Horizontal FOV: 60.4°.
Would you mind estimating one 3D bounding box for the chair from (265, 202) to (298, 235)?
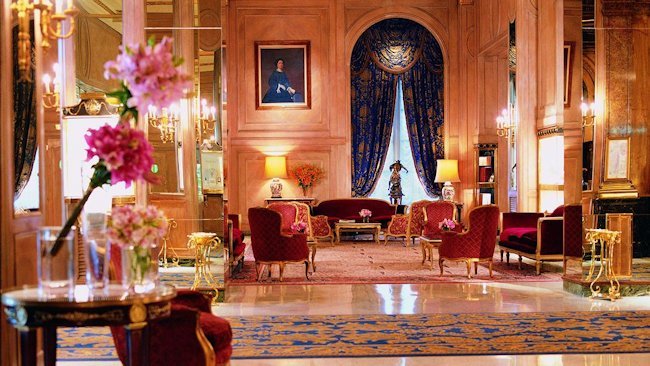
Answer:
[{"bbox_3d":[-0.840,0.745,12.090,0.655,0.971,0.701,0,-4,-3],"label":"chair"}]

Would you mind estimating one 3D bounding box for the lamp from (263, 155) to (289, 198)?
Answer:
[{"bbox_3d":[-1.286,-0.159,14.732,0.566,1.086,0.649,-2,6,-7],"label":"lamp"}]

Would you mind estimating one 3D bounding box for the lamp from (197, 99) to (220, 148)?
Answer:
[{"bbox_3d":[-1.770,-0.843,8.303,0.354,0.656,0.348,0,1,21],"label":"lamp"}]

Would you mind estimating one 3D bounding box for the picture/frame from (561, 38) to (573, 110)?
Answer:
[{"bbox_3d":[3.770,-1.678,8.682,0.158,1.000,0.192,-6,8,-41],"label":"picture/frame"}]

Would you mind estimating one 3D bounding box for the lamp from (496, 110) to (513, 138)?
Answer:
[{"bbox_3d":[4.237,-1.380,13.148,0.319,0.698,1.493,1,5,17],"label":"lamp"}]

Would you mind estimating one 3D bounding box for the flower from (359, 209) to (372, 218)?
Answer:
[{"bbox_3d":[1.004,0.761,13.857,0.256,0.191,0.365,-1,5,-4],"label":"flower"}]

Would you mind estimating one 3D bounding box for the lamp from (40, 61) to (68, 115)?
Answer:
[{"bbox_3d":[-4.045,-1.414,8.283,0.263,0.710,0.550,-4,6,-25],"label":"lamp"}]

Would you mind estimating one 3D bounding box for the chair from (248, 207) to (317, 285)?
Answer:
[{"bbox_3d":[-0.873,1.097,9.784,0.903,1.179,1.029,-4,-8,28],"label":"chair"}]

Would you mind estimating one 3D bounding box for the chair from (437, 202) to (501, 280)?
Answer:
[{"bbox_3d":[2.705,1.104,10.173,0.992,1.234,0.986,-7,-15,44],"label":"chair"}]

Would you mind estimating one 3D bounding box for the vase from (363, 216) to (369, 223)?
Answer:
[{"bbox_3d":[1.023,0.910,13.768,0.136,0.129,0.244,0,1,8],"label":"vase"}]

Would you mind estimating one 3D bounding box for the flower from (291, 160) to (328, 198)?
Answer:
[{"bbox_3d":[-0.489,-0.062,15.163,0.878,0.890,0.925,1,3,34],"label":"flower"}]

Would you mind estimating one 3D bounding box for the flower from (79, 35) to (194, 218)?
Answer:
[{"bbox_3d":[-2.022,-0.606,5.765,1.000,1.583,1.880,-3,6,-23],"label":"flower"}]

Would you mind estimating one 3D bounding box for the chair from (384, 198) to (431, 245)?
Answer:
[{"bbox_3d":[2.197,1.045,13.904,1.011,1.134,0.978,-2,-10,44],"label":"chair"}]

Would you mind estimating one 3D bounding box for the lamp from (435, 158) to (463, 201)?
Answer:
[{"bbox_3d":[3.222,-0.050,14.746,0.583,1.112,0.817,0,6,12],"label":"lamp"}]

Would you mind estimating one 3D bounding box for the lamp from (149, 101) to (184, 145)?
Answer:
[{"bbox_3d":[-2.397,-0.876,8.359,0.437,0.422,0.385,-7,-10,-26],"label":"lamp"}]

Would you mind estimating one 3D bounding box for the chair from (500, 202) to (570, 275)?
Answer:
[{"bbox_3d":[3.971,1.047,10.719,0.835,0.909,1.643,-1,3,-7],"label":"chair"}]

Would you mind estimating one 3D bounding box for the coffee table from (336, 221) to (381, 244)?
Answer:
[{"bbox_3d":[0.837,1.203,14.128,1.122,0.598,1.126,0,5,4],"label":"coffee table"}]

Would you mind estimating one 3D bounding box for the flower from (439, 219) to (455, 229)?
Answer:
[{"bbox_3d":[2.336,0.783,10.576,0.228,0.187,0.221,-1,0,-3],"label":"flower"}]

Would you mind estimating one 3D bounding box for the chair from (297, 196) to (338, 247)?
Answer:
[{"bbox_3d":[-0.119,0.943,14.029,1.074,1.388,1.042,0,2,0],"label":"chair"}]

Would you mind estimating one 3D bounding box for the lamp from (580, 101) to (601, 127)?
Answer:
[{"bbox_3d":[4.038,-1.029,8.558,0.213,0.421,0.101,-5,28,17],"label":"lamp"}]

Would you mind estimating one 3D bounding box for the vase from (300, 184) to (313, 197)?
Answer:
[{"bbox_3d":[-0.490,0.198,14.976,0.329,0.311,0.318,0,3,1],"label":"vase"}]

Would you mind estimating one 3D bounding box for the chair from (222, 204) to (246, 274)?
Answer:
[{"bbox_3d":[-1.635,1.047,10.029,0.523,0.804,1.337,0,3,-6],"label":"chair"}]
